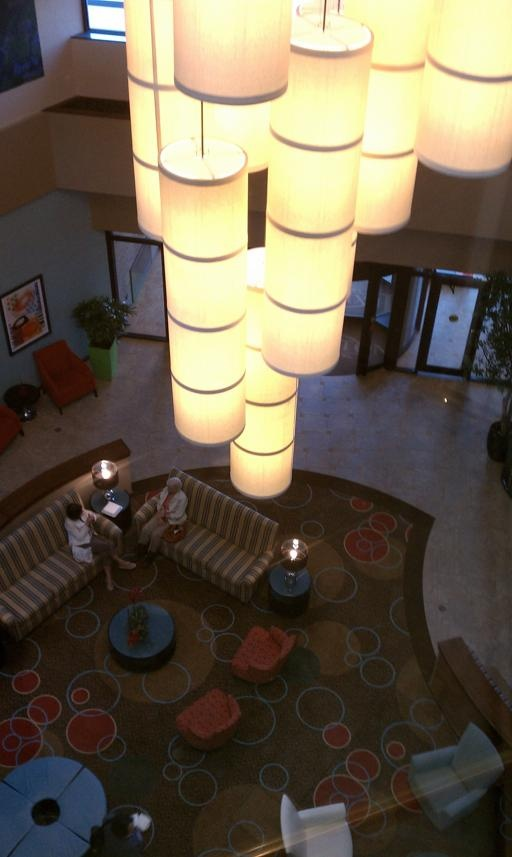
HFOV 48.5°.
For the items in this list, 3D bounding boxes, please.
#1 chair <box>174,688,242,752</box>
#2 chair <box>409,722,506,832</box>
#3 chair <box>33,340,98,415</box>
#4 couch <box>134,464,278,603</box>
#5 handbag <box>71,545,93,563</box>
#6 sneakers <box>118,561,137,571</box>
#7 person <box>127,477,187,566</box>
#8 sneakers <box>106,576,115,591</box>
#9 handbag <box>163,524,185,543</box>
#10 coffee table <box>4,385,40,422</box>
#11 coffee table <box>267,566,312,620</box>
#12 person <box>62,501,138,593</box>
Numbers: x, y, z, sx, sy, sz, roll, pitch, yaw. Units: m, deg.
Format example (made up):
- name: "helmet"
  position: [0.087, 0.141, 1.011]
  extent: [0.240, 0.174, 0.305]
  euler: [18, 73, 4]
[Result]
- name: "chair"
  position: [-0.617, 3.859, 7.491]
  extent: [0.822, 0.517, 0.551]
  euler: [-22, 42, -29]
- name: "chair"
  position: [2.347, 4.123, 6.826]
  extent: [0.699, 1.133, 0.729]
  euler: [-17, 39, -25]
- name: "chair"
  position: [-4.213, -1.227, 12.587]
  extent: [1.084, 1.130, 1.071]
  euler: [-24, 43, -32]
- name: "couch"
  position: [-0.821, 1.789, 9.493]
  extent: [2.344, 1.070, 1.074]
  euler: [25, 38, 22]
- name: "handbag"
  position: [-2.781, 2.002, 9.010]
  extent: [0.266, 0.304, 0.101]
  euler: [-4, -5, 3]
- name: "sneakers"
  position: [-2.159, 2.298, 9.567]
  extent: [0.269, 0.282, 0.142]
  euler: [1, 55, 0]
- name: "person"
  position: [-1.640, 1.471, 9.604]
  extent: [0.632, 1.368, 0.734]
  euler: [27, 24, 24]
- name: "sneakers"
  position: [-2.389, 2.547, 9.256]
  extent: [0.102, 0.169, 0.239]
  euler: [-18, 56, -15]
- name: "handbag"
  position: [-1.377, 1.768, 9.480]
  extent: [0.228, 0.119, 0.327]
  euler: [21, 51, 20]
- name: "coffee table"
  position: [-4.983, -0.623, 12.119]
  extent: [0.684, 0.554, 0.769]
  euler: [-1, 56, -6]
- name: "coffee table"
  position: [0.514, 2.591, 8.942]
  extent: [0.703, 0.699, 0.778]
  euler: [0, 41, 1]
- name: "person"
  position: [-2.632, 1.790, 9.196]
  extent: [0.727, 1.381, 0.587]
  euler: [4, 29, 18]
